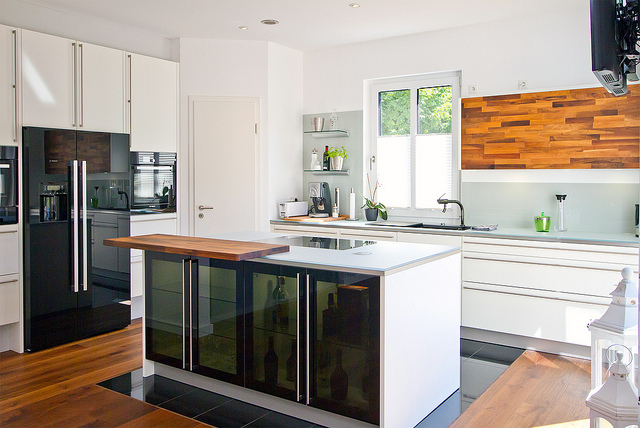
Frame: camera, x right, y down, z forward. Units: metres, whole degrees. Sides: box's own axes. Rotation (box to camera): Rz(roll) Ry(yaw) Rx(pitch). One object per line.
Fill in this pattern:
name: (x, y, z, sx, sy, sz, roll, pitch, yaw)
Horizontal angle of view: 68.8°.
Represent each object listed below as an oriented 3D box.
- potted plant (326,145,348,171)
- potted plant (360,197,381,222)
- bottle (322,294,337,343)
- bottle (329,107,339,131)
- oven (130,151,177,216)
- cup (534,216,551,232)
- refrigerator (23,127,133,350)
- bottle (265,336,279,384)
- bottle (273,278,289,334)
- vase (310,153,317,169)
potted plant: (0.233, -0.783, 6.492, 0.304, 0.304, 0.314, 0, 4, -3)
potted plant: (0.654, -0.074, 6.315, 0.278, 0.254, 0.269, -1, 0, -27)
bottle: (0.070, 0.780, 3.549, 0.124, 0.364, 0.047, 4, 12, 23)
bottle: (0.187, -1.332, 6.514, 0.132, 0.330, 0.259, 0, 10, 1)
oven: (-2.051, -0.409, 6.049, 0.676, 0.893, 0.481, 3, 12, 5)
cup: (2.449, 0.114, 5.151, 0.174, 0.136, 0.156, 0, 0, 24)
refrigerator: (-2.693, 0.229, 5.155, 1.250, 2.343, 0.489, -7, 12, -32)
bottle: (-0.395, 1.161, 3.755, 0.123, 0.384, 0.047, 7, 13, 33)
bottle: (-0.313, 0.722, 3.693, 0.152, 0.443, 0.059, 4, 11, 20)
vase: (-0.096, -0.766, 6.692, 0.084, 0.221, 0.162, -1, 10, -4)
